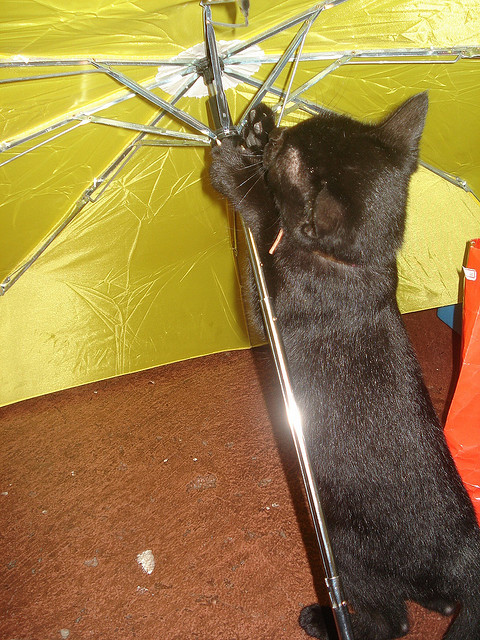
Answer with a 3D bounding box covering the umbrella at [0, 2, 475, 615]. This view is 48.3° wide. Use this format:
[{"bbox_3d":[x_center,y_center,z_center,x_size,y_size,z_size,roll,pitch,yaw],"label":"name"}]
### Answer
[{"bbox_3d":[0.126,-0.292,1.906,1.595,1.515,1.470,-15,45,-25],"label":"umbrella"}]
